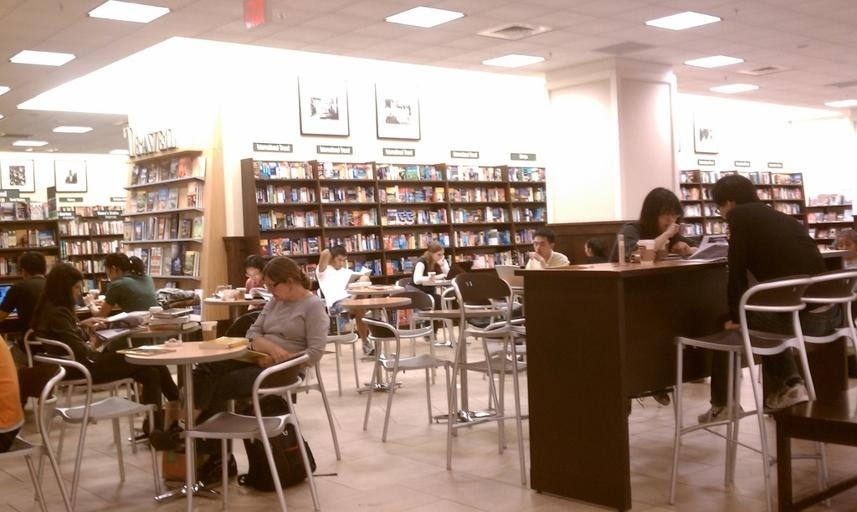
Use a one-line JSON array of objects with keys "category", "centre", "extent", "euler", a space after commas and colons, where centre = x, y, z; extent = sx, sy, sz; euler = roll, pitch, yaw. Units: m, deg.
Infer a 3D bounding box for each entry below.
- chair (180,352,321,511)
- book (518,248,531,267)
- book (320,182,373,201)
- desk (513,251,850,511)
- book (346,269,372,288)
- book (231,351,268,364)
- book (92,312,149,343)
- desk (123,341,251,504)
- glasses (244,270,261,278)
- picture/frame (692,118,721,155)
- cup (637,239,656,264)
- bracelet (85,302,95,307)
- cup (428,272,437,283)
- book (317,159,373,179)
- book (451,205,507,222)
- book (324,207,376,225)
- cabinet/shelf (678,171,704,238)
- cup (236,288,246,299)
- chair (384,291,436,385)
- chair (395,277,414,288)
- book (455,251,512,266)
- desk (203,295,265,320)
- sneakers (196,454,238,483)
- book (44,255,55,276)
[{"category": "chair", "centre": [-1.513, 1.523, 5.279], "extent": [1.132, 1.323, 0.818], "euler": [-2, 2, -5]}, {"category": "book", "centre": [1.971, 0.036, 12.589], "extent": [0.239, 0.372, 0.421], "euler": [1, 0, 22]}, {"category": "book", "centre": [-1.619, -1.276, 12.297], "extent": [1.246, 0.322, 0.408], "euler": [1, 3, -21]}, {"category": "desk", "centre": [2.195, 1.083, 5.246], "extent": [2.368, 1.250, 0.892], "euler": [-3, 4, -41]}, {"category": "book", "centre": [-1.117, 0.357, 10.053], "extent": [0.124, 0.280, 0.303], "euler": [21, -25, -32]}, {"category": "book", "centre": [-1.509, 0.870, 5.259], "extent": [0.179, 0.038, 0.169], "euler": [17, -28, -36]}, {"category": "book", "centre": [-3.199, 0.731, 6.374], "extent": [0.451, 0.146, 0.455], "euler": [-6, 2, 41]}, {"category": "desk", "centre": [-2.015, 1.354, 5.173], "extent": [1.250, 1.244, 1.166], "euler": [-3, -18, -26]}, {"category": "glasses", "centre": [-2.692, 0.272, 9.395], "extent": [0.226, 0.204, 0.068], "euler": [-10, -7, 29]}, {"category": "picture/frame", "centre": [7.794, -3.371, 17.240], "extent": [1.235, 0.939, 0.131], "euler": [5, -11, -40]}, {"category": "cup", "centre": [1.997, -0.036, 5.690], "extent": [0.213, 0.176, 0.197], "euler": [1, -1, 0]}, {"category": "bracelet", "centre": [-4.548, 0.653, 8.244], "extent": [0.100, 0.066, 0.098], "euler": [3, -3, -38]}, {"category": "cup", "centre": [0.058, 0.333, 9.763], "extent": [0.154, 0.132, 0.119], "euler": [0, -3, -5]}, {"category": "book", "centre": [-1.643, -1.724, 12.223], "extent": [1.299, 0.337, 0.400], "euler": [0, 6, -26]}, {"category": "book", "centre": [1.159, -0.915, 13.702], "extent": [1.406, 0.342, 0.310], "euler": [-3, 2, -37]}, {"category": "book", "centre": [-1.565, -0.790, 12.334], "extent": [1.181, 0.325, 0.370], "euler": [-1, 4, -24]}, {"category": "cabinet/shelf", "centre": [6.883, -1.354, 16.075], "extent": [0.296, 2.201, 0.883], "euler": [-4, 2, -16]}, {"category": "cup", "centre": [-2.590, 0.527, 8.639], "extent": [0.187, 0.157, 0.131], "euler": [1, -3, -37]}, {"category": "chair", "centre": [-0.250, 0.949, 7.841], "extent": [0.735, 0.831, 0.641], "euler": [14, 6, -30]}, {"category": "chair", "centre": [-0.381, 0.431, 10.090], "extent": [0.194, 0.204, 0.169], "euler": [-1, -3, -20]}, {"category": "book", "centre": [1.216, 0.086, 13.697], "extent": [1.483, 0.380, 0.383], "euler": [-3, 2, -34]}, {"category": "desk", "centre": [-2.809, 0.732, 8.828], "extent": [0.773, 0.465, 0.727], "euler": [-1, -1, 14]}, {"category": "sneakers", "centre": [-1.923, 2.001, 5.717], "extent": [0.150, 0.166, 0.452], "euler": [-9, -12, 42]}, {"category": "book", "centre": [-6.211, 0.142, 10.045], "extent": [0.369, 0.314, 0.049], "euler": [-3, -9, 33]}]
